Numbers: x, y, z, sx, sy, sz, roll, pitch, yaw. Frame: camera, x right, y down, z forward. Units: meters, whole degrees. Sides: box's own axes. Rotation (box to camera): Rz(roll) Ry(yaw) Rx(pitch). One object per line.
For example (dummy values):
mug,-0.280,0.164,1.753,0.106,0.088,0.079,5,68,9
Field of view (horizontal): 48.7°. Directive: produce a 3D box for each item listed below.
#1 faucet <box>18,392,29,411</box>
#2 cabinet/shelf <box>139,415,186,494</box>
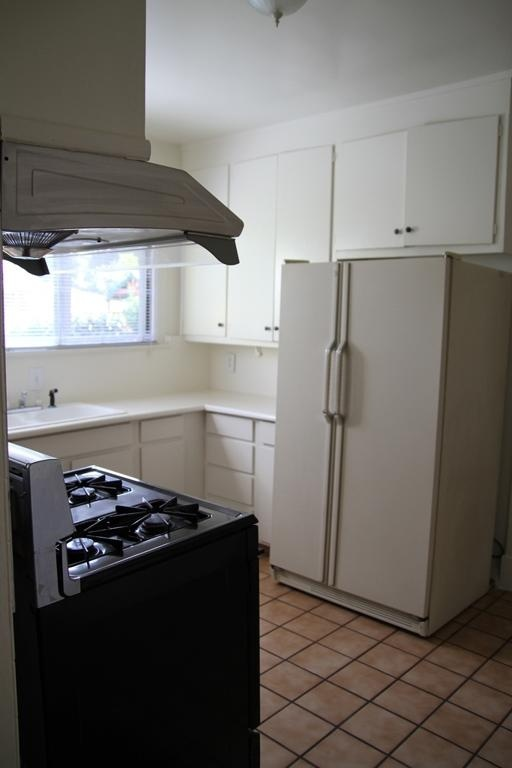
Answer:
faucet,-1.271,0.086,3.085,0.051,0.088,0.067,0,4,-26
cabinet/shelf,-0.557,0.431,3.357,0.265,0.514,0.257,-1,-4,-12
